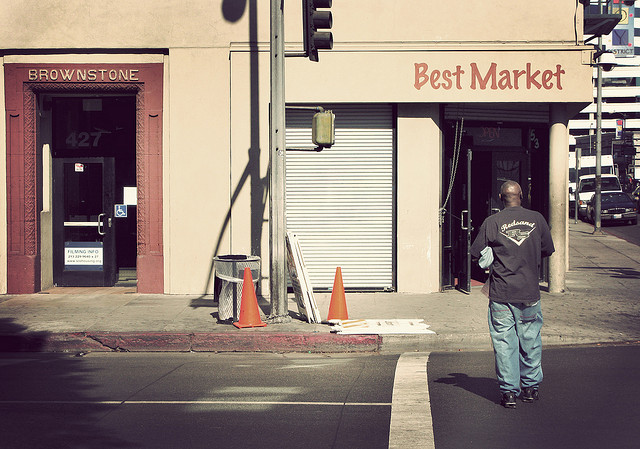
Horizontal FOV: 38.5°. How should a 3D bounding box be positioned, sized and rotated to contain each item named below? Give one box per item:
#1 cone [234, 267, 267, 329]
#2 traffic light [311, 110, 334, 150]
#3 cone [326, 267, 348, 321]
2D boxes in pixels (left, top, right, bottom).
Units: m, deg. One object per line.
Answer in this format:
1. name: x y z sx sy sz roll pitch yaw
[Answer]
1. cone: -1.372 1.392 17.488 0.590 1.129 0.415 -3 2 -12
2. traffic light: 0.033 -1.888 18.006 0.406 0.753 0.664 -2 3 -1
3. cone: 0.315 1.343 17.856 0.407 1.025 0.442 -2 2 -2
